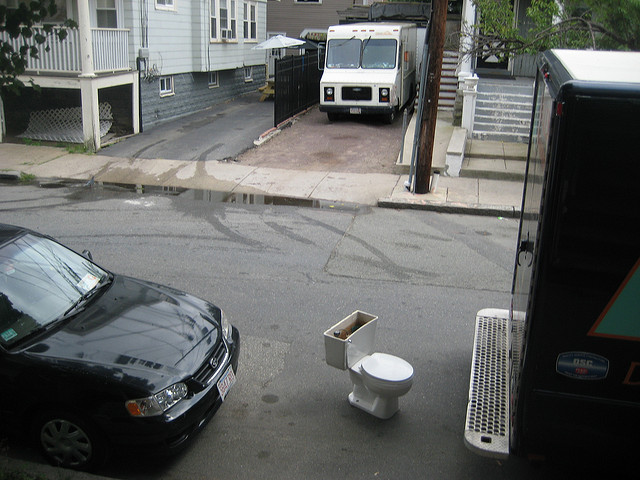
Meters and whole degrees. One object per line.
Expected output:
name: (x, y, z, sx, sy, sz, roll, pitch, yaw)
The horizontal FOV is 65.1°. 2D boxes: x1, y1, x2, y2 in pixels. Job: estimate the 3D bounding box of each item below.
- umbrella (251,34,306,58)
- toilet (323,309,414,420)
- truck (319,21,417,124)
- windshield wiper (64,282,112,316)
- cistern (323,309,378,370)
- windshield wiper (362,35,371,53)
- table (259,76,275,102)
umbrella: (-2.080, -9.575, 24.359, 1.720, 0.799, 2.074, -7, 30, 8)
toilet: (0.602, 1.485, 5.827, 1.057, 0.946, 0.614, 16, 27, 31)
truck: (2.503, -7.864, 23.200, 3.329, 4.047, 6.809, 4, 22, 16)
windshield wiper: (-2.590, 0.631, 5.587, 0.075, 0.081, 0.773, 6, 27, 13)
cistern: (0.383, 1.192, 5.950, 0.320, 0.461, 0.639, 8, 24, 35)
windshield wiper: (1.992, -8.295, 21.240, 0.089, 0.806, 0.046, 19, -6, 42)
table: (-2.947, -8.327, 27.928, 0.643, 0.957, 1.507, 6, 25, 13)
